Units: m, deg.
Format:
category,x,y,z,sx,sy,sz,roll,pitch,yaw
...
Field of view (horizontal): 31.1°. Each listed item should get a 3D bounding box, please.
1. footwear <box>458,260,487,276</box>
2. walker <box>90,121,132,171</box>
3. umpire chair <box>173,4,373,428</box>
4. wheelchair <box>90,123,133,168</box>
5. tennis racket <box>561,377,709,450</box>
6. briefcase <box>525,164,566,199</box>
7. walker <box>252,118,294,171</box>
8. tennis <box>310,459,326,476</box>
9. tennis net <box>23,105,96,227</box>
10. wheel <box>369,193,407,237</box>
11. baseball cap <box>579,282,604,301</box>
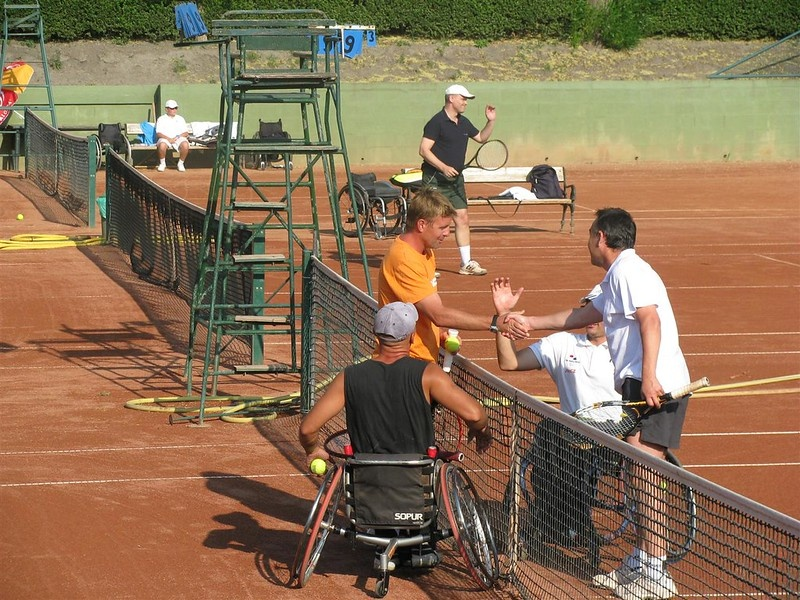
category,x,y,z,sx,sy,sz,roll,pitch,yaw
footwear,1.059,-0.447,21.489,0.454,0.202,0.174,0,6,10
walker,-6.656,-3.568,32.916,0.807,0.882,0.938,-5,0,2
umpire chair,-1.895,-1.222,20.518,2.438,9.249,2.519,-2,16,-12
wheelchair,-6.609,-3.559,33.011,0.808,1.027,0.838,-8,21,-21
tennis racket,2.168,1.101,13.460,1.189,0.774,0.882,1,13,-14
briefcase,2.683,-2.179,26.390,0.659,0.576,0.749,0,10,0
walker,-2.900,-3.607,33.021,1.104,1.124,1.211,-15,16,-10
tennis,-0.751,1.558,13.183,0.148,0.138,0.145,-6,9,22
tennis net,-6.547,-2.602,27.723,0.252,1.765,7.957,-5,11,-22
wheel,-0.211,-1.665,25.082,0.560,0.757,0.669,-22,37,-28
baseball cap,2.246,-0.088,16.978,0.260,0.095,0.221,-30,4,4
